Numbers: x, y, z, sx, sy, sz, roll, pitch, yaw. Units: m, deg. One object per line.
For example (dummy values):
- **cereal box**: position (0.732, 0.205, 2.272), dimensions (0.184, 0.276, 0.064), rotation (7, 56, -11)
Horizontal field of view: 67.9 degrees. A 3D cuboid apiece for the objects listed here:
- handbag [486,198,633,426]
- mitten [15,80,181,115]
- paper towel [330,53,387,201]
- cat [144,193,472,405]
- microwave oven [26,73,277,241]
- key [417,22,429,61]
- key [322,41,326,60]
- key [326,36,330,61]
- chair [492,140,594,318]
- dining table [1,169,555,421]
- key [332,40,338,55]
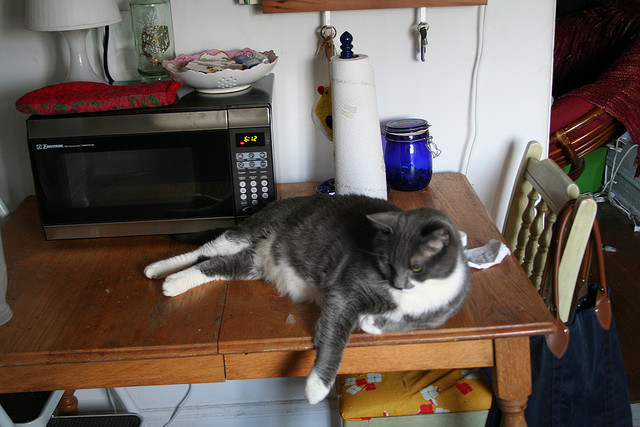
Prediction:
- **handbag**: position (0.751, 0.331, 1.418), dimensions (0.384, 0.738, 0.259), rotation (-7, 23, -2)
- **mitten**: position (-0.662, -0.368, 1.468), dimensions (0.445, 0.086, 0.207), rotation (-6, 24, 1)
- **paper towel**: position (0.118, -0.275, 1.546), dimensions (0.167, 0.455, 0.153), rotation (-4, 23, 7)
- **cat**: position (-0.028, 0.101, 1.378), dimensions (0.926, 0.461, 0.459), rotation (13, 29, 27)
- **microwave oven**: position (-0.515, -0.229, 1.636), dimensions (0.757, 0.457, 0.546), rotation (-1, 31, -1)
- **key**: position (0.377, -0.626, 1.726), dimensions (0.042, 0.132, 0.041), rotation (-5, 23, 5)
- **key**: position (0.012, -0.603, 1.738), dimensions (0.008, 0.063, 0.008), rotation (7, 20, -39)
- **key**: position (0.028, -0.606, 1.714), dimensions (0.011, 0.069, 0.021), rotation (-8, 23, -3)
- **chair**: position (0.710, 0.056, 1.559), dimensions (0.294, 0.545, 0.310), rotation (-9, 52, 14)
- **dining table**: position (-0.101, 0.153, 1.384), dimensions (1.316, 0.648, 0.758), rotation (2, 43, 2)
- **key**: position (0.053, -0.602, 1.730), dimensions (0.008, 0.061, 0.008), rotation (-26, 8, -33)
